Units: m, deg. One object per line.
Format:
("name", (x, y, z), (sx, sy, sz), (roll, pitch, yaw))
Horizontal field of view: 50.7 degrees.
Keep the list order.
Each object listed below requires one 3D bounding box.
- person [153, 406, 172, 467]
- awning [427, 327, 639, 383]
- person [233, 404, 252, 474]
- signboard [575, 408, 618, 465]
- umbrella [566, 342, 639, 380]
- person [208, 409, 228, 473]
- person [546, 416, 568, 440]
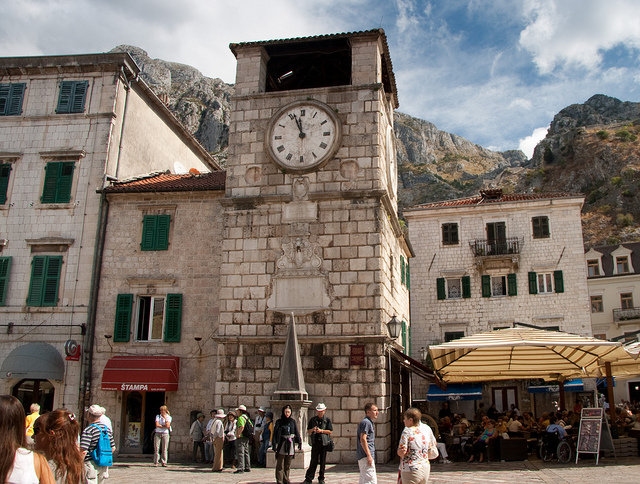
("person", (-5.286, 6.515, 22.662), (0.495, 1.947, 1.260), (3, -14, -13))
("awning", (6.816, 3.836, 22.781), (6.241, 1.664, 6.675), (-2, -13, 8))
("person", (-2.454, 6.388, 21.360), (0.520, 1.694, 0.676), (2, -14, -7))
("signboard", (8.518, 6.004, 21.007), (0.947, 1.576, 0.911), (8, -16, -35))
("umbrella", (9.429, 3.950, 22.680), (2.233, 0.756, 2.169), (-5, -10, -19))
("person", (-3.294, 6.500, 21.948), (0.694, 1.959, 0.771), (0, -52, -2))
("person", (7.602, 6.133, 22.168), (0.569, 0.469, 0.836), (-14, 19, 14))
